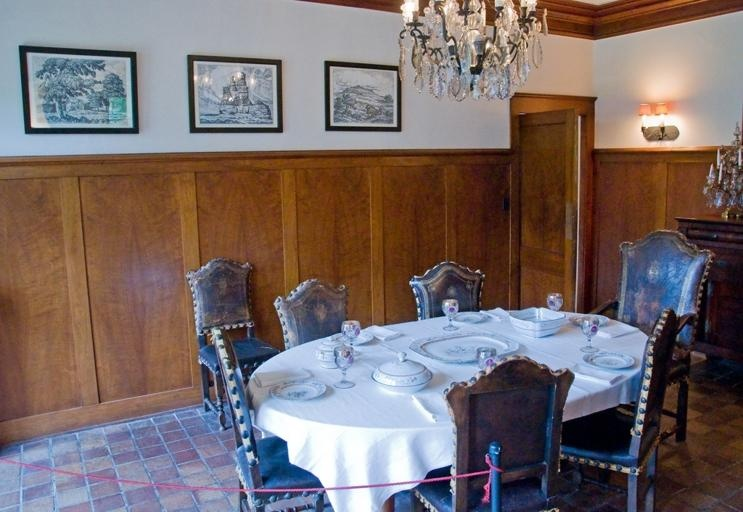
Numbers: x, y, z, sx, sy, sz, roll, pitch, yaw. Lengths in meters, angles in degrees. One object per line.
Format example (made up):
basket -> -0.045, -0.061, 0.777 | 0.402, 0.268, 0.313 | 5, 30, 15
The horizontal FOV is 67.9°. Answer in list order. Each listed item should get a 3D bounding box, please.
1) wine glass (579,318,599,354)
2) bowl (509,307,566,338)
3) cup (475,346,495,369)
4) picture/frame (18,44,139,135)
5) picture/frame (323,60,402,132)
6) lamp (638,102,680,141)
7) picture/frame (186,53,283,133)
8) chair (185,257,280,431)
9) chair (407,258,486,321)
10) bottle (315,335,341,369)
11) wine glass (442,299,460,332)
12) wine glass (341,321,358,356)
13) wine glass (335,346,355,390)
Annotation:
wine glass -> 1.423, 0.510, 3.606 | 0.121, 0.238, 0.119 | 2, 16, 15
bowl -> 1.163, 0.465, 3.920 | 0.228, 0.104, 0.282 | -7, 7, -35
cup -> 0.658, 0.583, 3.222 | 0.108, 0.118, 0.113 | -1, 15, 0
picture/frame -> -2.398, -1.351, 4.443 | 0.727, 0.613, 0.029 | -4, 14, -26
picture/frame -> -0.124, -1.572, 5.378 | 0.698, 0.551, 0.027 | -4, 8, -29
lamp -> 3.205, -1.494, 6.131 | 0.144, 0.483, 0.452 | -3, 3, -37
picture/frame -> -1.254, -1.458, 4.905 | 0.705, 0.580, 0.027 | -4, 10, -19
chair -> -1.193, 0.773, 4.847 | 0.645, 1.356, 0.559 | -7, 13, -35
chair -> 0.620, 0.270, 4.522 | 0.504, 0.700, 0.486 | -2, 1, -20
bottle -> -0.240, 0.624, 3.517 | 0.224, 0.180, 0.156 | -1, -1, 45
wine glass -> 0.572, 0.423, 4.023 | 0.126, 0.209, 0.130 | 7, 20, 39
wine glass -> -0.130, 0.521, 3.577 | 0.141, 0.251, 0.165 | -2, -1, 1
wine glass -> -0.164, 0.648, 3.224 | 0.120, 0.233, 0.120 | 6, 13, 31
